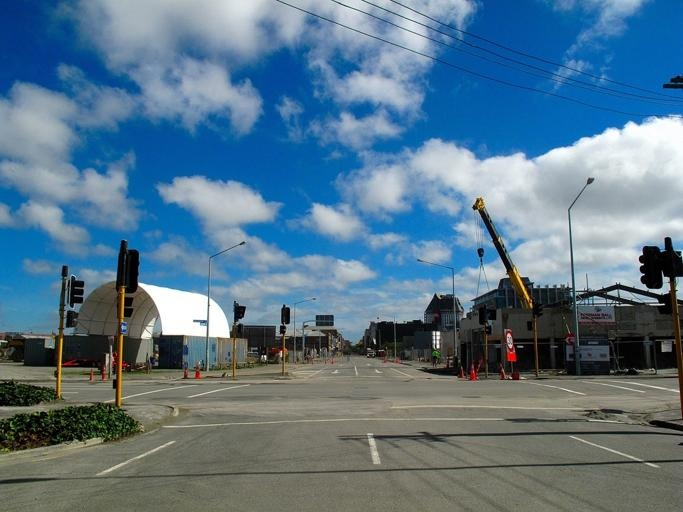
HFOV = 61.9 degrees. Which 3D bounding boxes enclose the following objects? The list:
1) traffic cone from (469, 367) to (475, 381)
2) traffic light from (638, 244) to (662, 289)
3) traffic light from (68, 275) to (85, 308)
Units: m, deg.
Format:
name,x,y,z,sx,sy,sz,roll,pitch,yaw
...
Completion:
name,x,y,z,sx,sy,sz,roll,pitch,yaw
traffic cone,8.345,7.544,36.388,0.301,0.855,1.240,-5,-16,12
traffic light,9.719,0.403,17.829,0.679,1.410,0.814,-10,-16,27
traffic light,-10.000,1.376,21.454,0.506,1.200,0.523,3,10,-18
